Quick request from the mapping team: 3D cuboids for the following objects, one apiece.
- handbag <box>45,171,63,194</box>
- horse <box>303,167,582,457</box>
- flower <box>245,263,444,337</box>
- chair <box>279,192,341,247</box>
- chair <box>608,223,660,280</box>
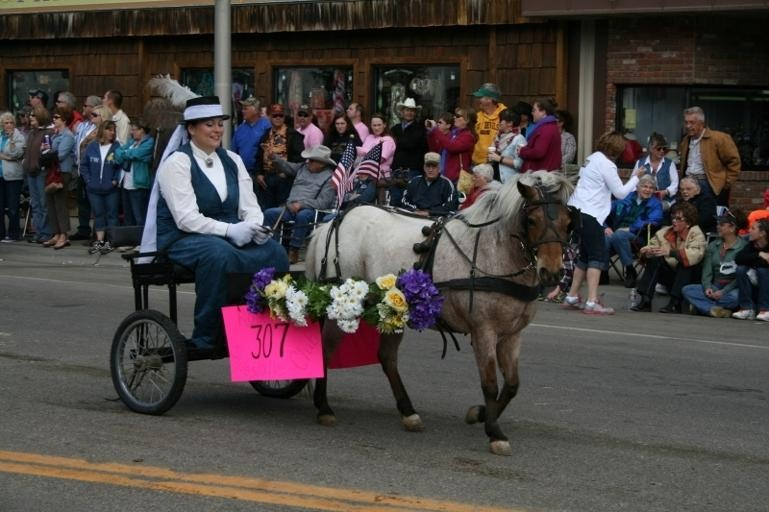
[{"bbox_3d":[-6.839,-1.524,25.205,0.473,0.487,0.199,2,1,36],"label":"handbag"},{"bbox_3d":[0.725,0.393,14.293,2.800,2.831,0.945,7,15,24],"label":"horse"},{"bbox_3d":[-0.305,0.516,14.299,1.634,0.544,1.028,1,-3,15],"label":"flower"},{"bbox_3d":[-1.365,-0.525,20.626,0.963,1.311,0.968,-1,-8,43],"label":"chair"},{"bbox_3d":[4.241,-0.079,20.981,0.810,0.925,0.619,-1,0,14],"label":"chair"}]
